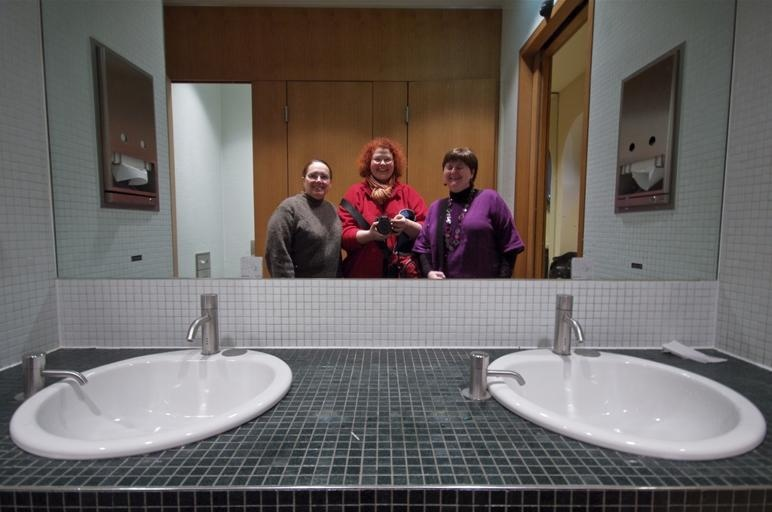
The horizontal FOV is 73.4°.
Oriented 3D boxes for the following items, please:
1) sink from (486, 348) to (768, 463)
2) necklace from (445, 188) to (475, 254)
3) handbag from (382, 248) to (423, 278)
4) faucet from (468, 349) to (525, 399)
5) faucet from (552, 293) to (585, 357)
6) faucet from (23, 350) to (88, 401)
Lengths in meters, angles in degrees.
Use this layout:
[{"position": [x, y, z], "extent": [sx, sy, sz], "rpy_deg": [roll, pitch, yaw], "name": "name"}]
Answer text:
[{"position": [0.726, 0.472, 1.620], "extent": [0.777, 0.238, 0.406], "rpy_deg": [-1, 3, 11], "name": "sink"}, {"position": [0.272, -0.128, 1.873], "extent": [0.121, 0.220, 0.051], "rpy_deg": [1, 10, -4], "name": "necklace"}, {"position": [0.071, 0.037, 1.896], "extent": [0.115, 0.113, 0.049], "rpy_deg": [3, 1, -2], "name": "handbag"}, {"position": [0.354, 0.371, 1.677], "extent": [0.218, 0.132, 0.102], "rpy_deg": [-1, 2, 3], "name": "faucet"}, {"position": [0.638, 0.244, 1.824], "extent": [0.099, 0.211, 0.299], "rpy_deg": [0, 3, 20], "name": "faucet"}, {"position": [-1.041, 0.381, 1.616], "extent": [0.209, 0.129, 0.083], "rpy_deg": [9, 13, -2], "name": "faucet"}]
